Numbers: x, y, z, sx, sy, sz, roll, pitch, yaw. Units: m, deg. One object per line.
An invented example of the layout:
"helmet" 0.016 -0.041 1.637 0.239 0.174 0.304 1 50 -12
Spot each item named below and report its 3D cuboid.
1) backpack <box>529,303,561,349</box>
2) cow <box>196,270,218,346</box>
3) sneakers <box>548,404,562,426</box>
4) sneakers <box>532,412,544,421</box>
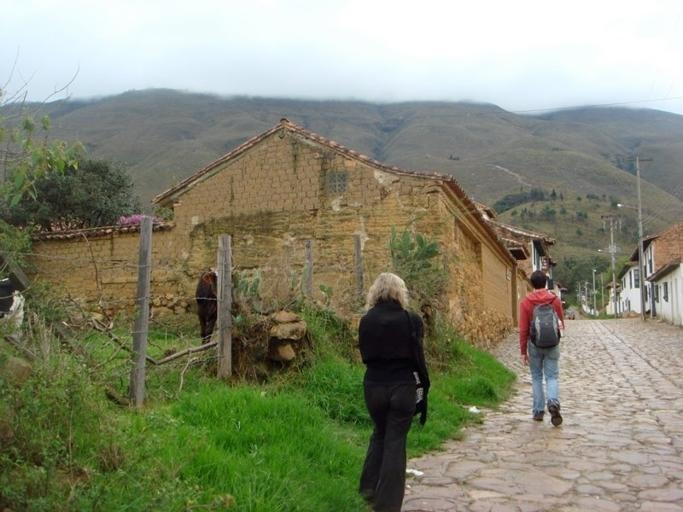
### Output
"backpack" 2.935 1.038 8.303 0.510 0.772 0.422 -1 -23 8
"cow" -2.569 0.966 10.991 0.406 1.070 1.620 6 3 -14
"sneakers" 3.014 2.248 8.140 0.148 0.401 0.167 -8 0 15
"sneakers" 2.887 2.371 8.419 0.072 0.096 0.219 0 -1 6
